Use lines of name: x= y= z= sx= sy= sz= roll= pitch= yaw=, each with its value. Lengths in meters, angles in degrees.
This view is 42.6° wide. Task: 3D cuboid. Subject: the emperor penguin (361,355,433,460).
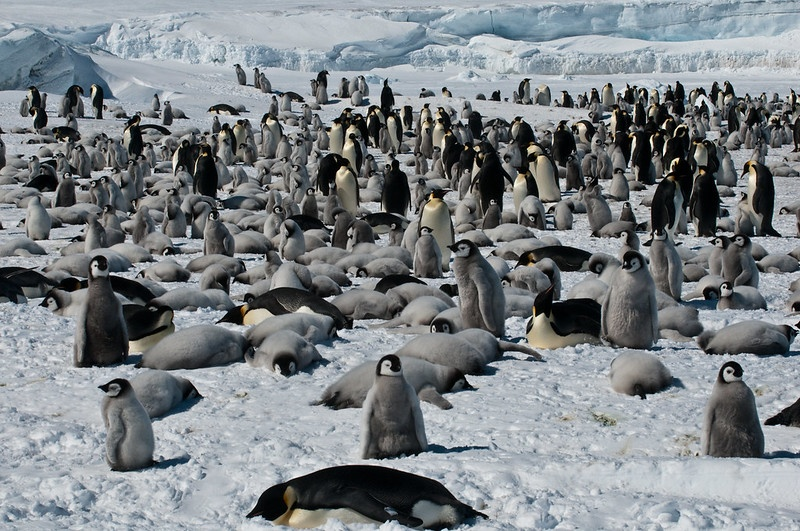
emperor penguin: x=-0.063 y=1.307 z=9.491 sx=0.610 sy=0.958 sz=0.183 roll=-2 pitch=11 yaw=-2

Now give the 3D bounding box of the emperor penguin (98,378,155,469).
emperor penguin: x=-2.551 y=1.479 z=9.607 sx=0.446 sy=0.835 sz=0.294 roll=-5 pitch=12 yaw=-16

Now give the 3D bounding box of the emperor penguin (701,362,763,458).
emperor penguin: x=3.123 y=1.356 z=9.617 sx=0.545 sy=0.874 sz=0.229 roll=2 pitch=12 yaw=18
